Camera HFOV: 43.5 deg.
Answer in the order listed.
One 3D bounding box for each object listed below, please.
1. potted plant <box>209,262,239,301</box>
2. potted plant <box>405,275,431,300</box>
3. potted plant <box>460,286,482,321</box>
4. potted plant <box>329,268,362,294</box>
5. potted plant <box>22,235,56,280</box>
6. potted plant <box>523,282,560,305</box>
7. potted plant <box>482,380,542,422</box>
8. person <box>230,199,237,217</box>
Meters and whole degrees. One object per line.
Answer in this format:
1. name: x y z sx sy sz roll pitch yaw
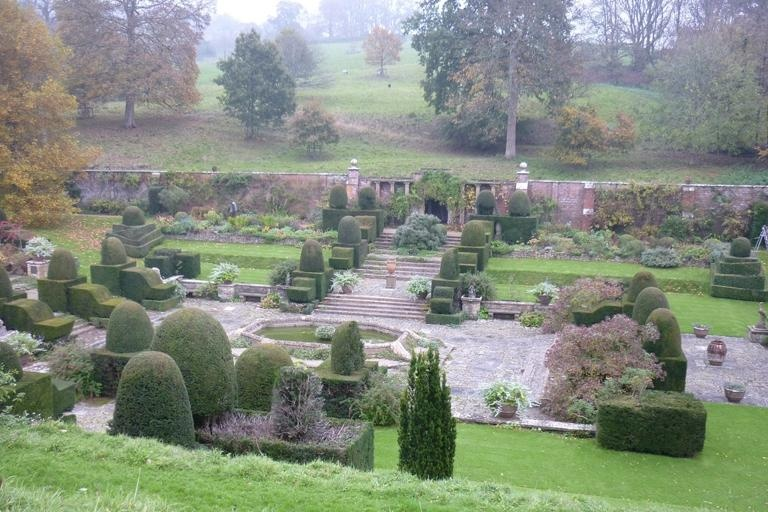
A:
1. potted plant: -10.466 1.931 63.283 2.210 2.811 2.014 0 0 -2
2. potted plant: 2.153 2.175 61.018 1.310 1.563 1.424 2 3 22
3. potted plant: 5.408 3.061 60.382 1.278 2.164 0.632 2 5 5
4. potted plant: -2.631 1.785 62.589 1.430 1.111 1.408 2 3 -44
5. potted plant: -23.231 0.228 64.472 1.752 2.395 3.593 -1 6 -22
6. potted plant: 10.028 2.471 60.551 1.358 1.313 1.392 -2 6 -26
7. potted plant: 6.465 7.812 50.913 1.909 1.567 1.951 0 0 -5
8. person: -11.983 -3.655 76.252 0.650 1.172 1.832 0 6 -10
